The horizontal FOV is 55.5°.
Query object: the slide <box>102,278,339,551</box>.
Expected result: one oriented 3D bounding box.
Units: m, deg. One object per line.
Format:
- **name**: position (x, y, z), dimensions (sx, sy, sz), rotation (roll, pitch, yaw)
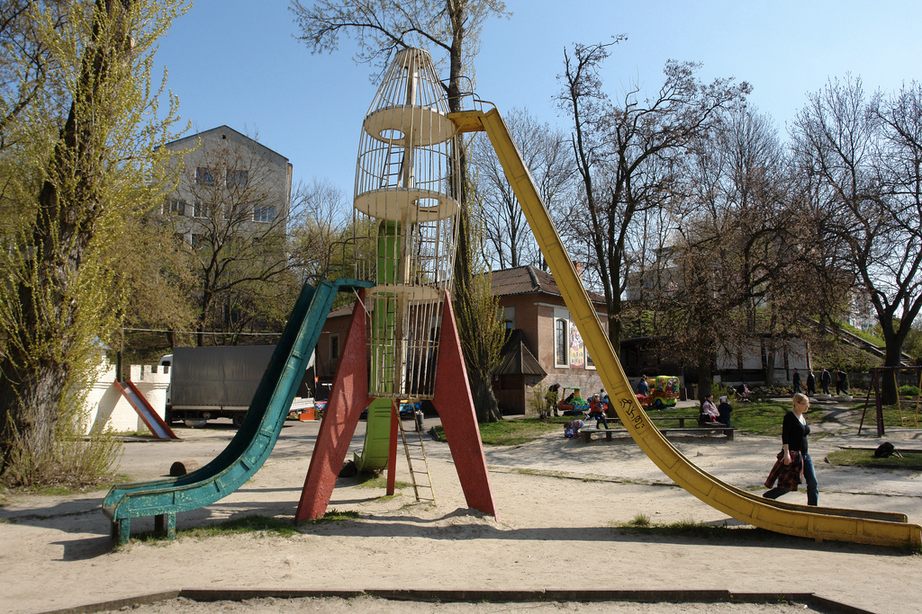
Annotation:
- **slide**: position (-5.960, 2.113, 20.950), dimensions (4.352, 6.085, 4.351), rotation (2, -1, -30)
